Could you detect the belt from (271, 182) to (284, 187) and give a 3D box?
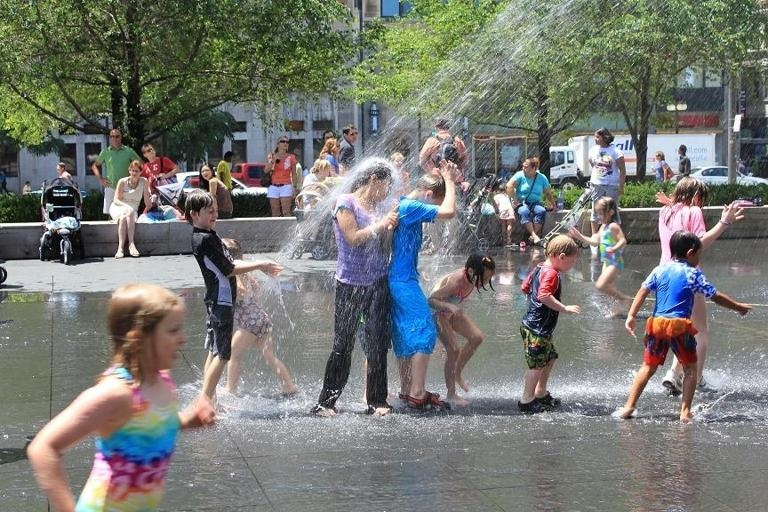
[{"bbox_3d":[-2.231,-1.512,20.164,0.226,0.080,0.016,2,12,8],"label":"belt"}]

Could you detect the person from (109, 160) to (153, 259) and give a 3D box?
[{"bbox_3d":[-4.744,-0.895,17.938,0.708,1.800,0.564,-4,13,-19],"label":"person"}]

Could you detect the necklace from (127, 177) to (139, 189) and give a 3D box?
[{"bbox_3d":[-4.677,-1.373,17.814,0.151,0.165,0.202,6,-4,-3],"label":"necklace"}]

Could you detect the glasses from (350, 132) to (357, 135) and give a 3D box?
[{"bbox_3d":[-0.557,-2.287,17.715,0.079,0.045,0.089,-3,-4,-18],"label":"glasses"}]

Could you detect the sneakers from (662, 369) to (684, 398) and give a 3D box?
[{"bbox_3d":[2.983,1.309,9.839,0.120,0.330,0.152,-1,40,30],"label":"sneakers"}]

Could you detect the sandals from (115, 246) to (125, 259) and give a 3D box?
[{"bbox_3d":[-4.958,-0.087,17.961,0.153,0.204,0.359,-3,13,-15],"label":"sandals"}]

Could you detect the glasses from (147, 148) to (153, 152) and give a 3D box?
[{"bbox_3d":[-4.703,-2.150,19.248,0.071,0.090,0.030,-8,15,-22],"label":"glasses"}]

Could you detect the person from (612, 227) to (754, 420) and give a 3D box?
[{"bbox_3d":[2.827,0.662,9.273,0.935,1.740,0.796,4,13,19],"label":"person"}]

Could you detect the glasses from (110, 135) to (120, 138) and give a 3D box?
[{"bbox_3d":[-5.115,-2.281,18.112,0.211,0.060,0.107,7,15,28],"label":"glasses"}]

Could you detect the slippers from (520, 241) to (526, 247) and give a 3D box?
[{"bbox_3d":[2.764,-0.237,18.883,0.101,0.129,0.108,0,10,6],"label":"slippers"}]

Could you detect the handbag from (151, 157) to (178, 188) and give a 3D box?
[{"bbox_3d":[-4.423,-1.663,19.200,0.479,0.530,0.275,-15,-5,3],"label":"handbag"}]

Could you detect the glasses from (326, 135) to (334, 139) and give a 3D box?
[{"bbox_3d":[-1.021,-2.279,18.215,0.096,0.063,0.130,-5,-9,-5],"label":"glasses"}]

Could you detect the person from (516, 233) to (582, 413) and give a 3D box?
[{"bbox_3d":[1.640,0.639,9.462,0.542,1.708,0.654,2,12,8],"label":"person"}]

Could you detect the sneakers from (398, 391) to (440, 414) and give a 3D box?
[{"bbox_3d":[0.383,1.447,9.477,0.330,0.153,0.177,0,11,-15],"label":"sneakers"}]

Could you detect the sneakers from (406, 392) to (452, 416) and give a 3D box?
[{"bbox_3d":[0.463,1.468,9.445,0.383,0.180,0.202,-2,8,-17],"label":"sneakers"}]

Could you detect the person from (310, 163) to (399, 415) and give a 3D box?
[{"bbox_3d":[-0.236,0.475,9.248,0.748,2.109,0.383,0,12,0],"label":"person"}]
